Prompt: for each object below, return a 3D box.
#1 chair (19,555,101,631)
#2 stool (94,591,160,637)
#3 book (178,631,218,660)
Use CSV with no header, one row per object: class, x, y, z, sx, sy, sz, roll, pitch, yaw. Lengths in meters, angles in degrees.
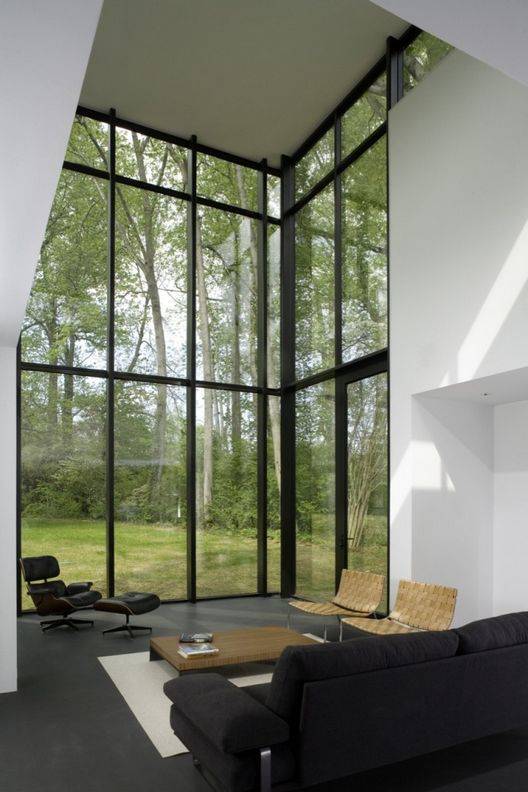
chair,-2.005,1.946,6.489,0.772,0.866,0.786,-7,-12,27
stool,-1.282,2.093,6.203,0.460,0.352,0.701,-2,-8,8
book,-0.489,1.844,4.798,0.228,0.066,0.281,1,-3,-13
